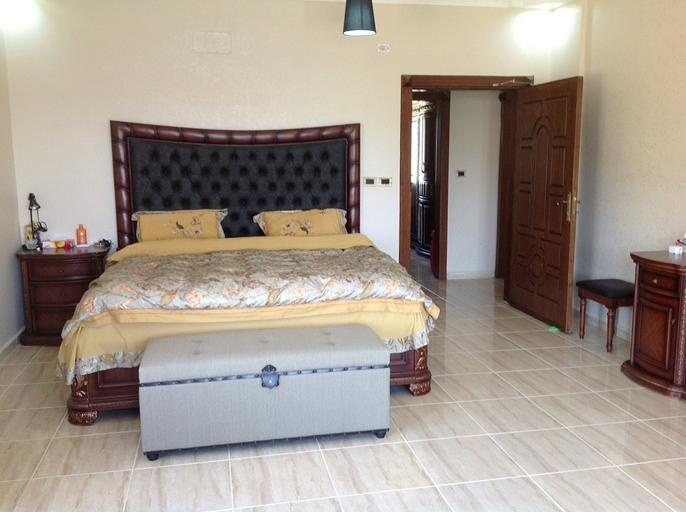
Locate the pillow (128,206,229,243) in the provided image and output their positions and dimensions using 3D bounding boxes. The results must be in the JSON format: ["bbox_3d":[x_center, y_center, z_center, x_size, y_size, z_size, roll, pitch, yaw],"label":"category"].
[{"bbox_3d":[-1.430,-0.288,4.157,0.578,0.378,0.151,1,-12,-14],"label":"pillow"}]

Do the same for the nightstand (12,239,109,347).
[{"bbox_3d":[-2.340,0.235,4.439,0.961,1.104,0.754,0,10,-12],"label":"nightstand"}]

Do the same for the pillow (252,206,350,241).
[{"bbox_3d":[-0.367,-0.310,4.378,0.610,0.373,0.170,-1,-28,-4],"label":"pillow"}]

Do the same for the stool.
[{"bbox_3d":[2.100,0.477,4.079,0.519,0.576,0.533,-2,7,-19],"label":"stool"}]
